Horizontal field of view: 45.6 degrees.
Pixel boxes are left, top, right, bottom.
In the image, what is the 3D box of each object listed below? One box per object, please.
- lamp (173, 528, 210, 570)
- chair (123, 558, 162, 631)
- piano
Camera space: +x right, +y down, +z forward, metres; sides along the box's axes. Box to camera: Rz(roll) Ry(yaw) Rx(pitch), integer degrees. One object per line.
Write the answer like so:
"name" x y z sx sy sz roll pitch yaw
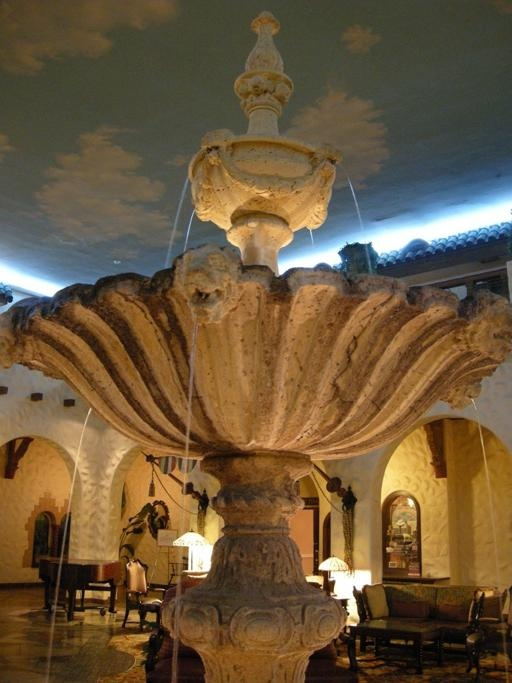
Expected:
"lamp" -1.063 3.562 10.283 0.551 0.634 1.708 1 -17 -4
"chair" -1.726 3.971 9.623 0.684 0.915 0.636 11 -19 -28
"piano" -2.946 4.097 10.147 1.277 0.934 3.017 5 -18 -18
